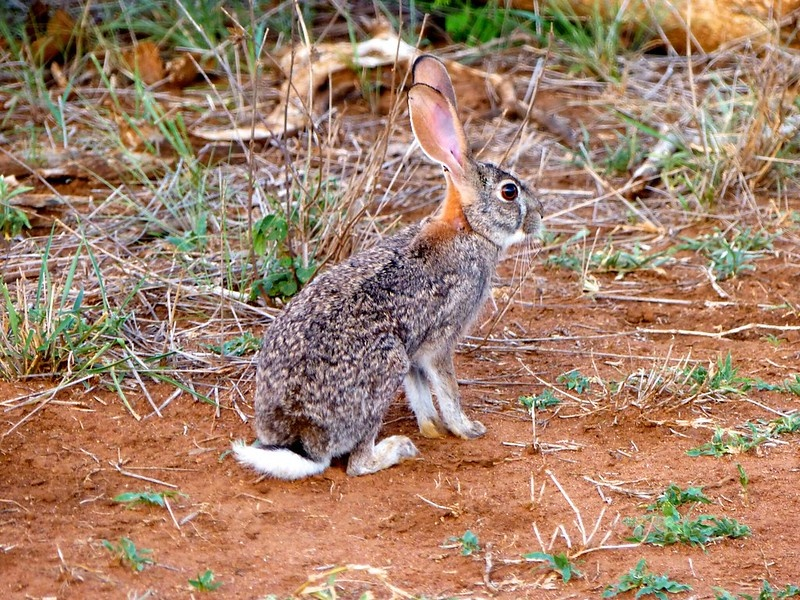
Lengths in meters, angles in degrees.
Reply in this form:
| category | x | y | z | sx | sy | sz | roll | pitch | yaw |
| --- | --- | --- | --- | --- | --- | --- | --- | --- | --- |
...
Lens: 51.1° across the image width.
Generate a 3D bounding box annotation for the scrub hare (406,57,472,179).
| category | x | y | z | sx | sy | sz | roll | pitch | yaw |
| --- | --- | --- | --- | --- | --- | --- | --- | --- | --- |
| scrub hare | 0.218 | -1.055 | 4.820 | 0.340 | 0.742 | 0.330 | -10 | 45 | 18 |
